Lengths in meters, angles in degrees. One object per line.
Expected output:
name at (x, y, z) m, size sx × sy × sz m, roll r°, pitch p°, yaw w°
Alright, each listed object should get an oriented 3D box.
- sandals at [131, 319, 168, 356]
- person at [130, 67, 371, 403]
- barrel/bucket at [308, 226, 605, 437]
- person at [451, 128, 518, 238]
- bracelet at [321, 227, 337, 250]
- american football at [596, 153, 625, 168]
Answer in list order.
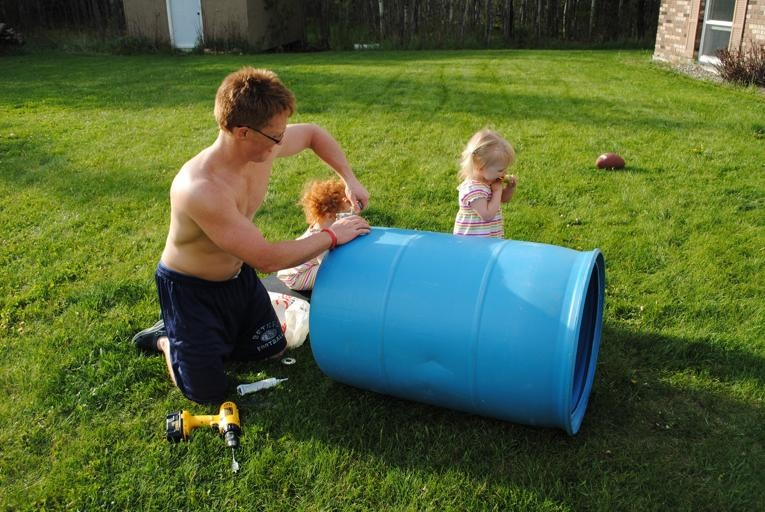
sandals at (-1.577, 0.577, 4.170) m, size 0.342 × 0.141 × 0.152 m, roll -18°, pitch 2°, yaw 25°
person at (-1.008, -0.147, 4.239) m, size 1.224 × 2.515 × 1.006 m, roll -2°, pitch 8°, yaw -17°
barrel/bucket at (0.458, 0.442, 3.765) m, size 1.764 × 1.053 × 0.696 m, roll 7°, pitch 23°, yaw 16°
person at (0.740, -0.472, 4.314) m, size 0.417 × 0.800 × 0.550 m, roll 3°, pitch 22°, yaw 10°
bracelet at (-0.347, -0.110, 3.803) m, size 0.042 × 0.122 × 0.099 m, roll -15°, pitch 5°, yaw -14°
american football at (2.539, -1.037, 6.626) m, size 0.172 × 0.152 × 0.231 m, roll 14°, pitch -6°, yaw -38°
